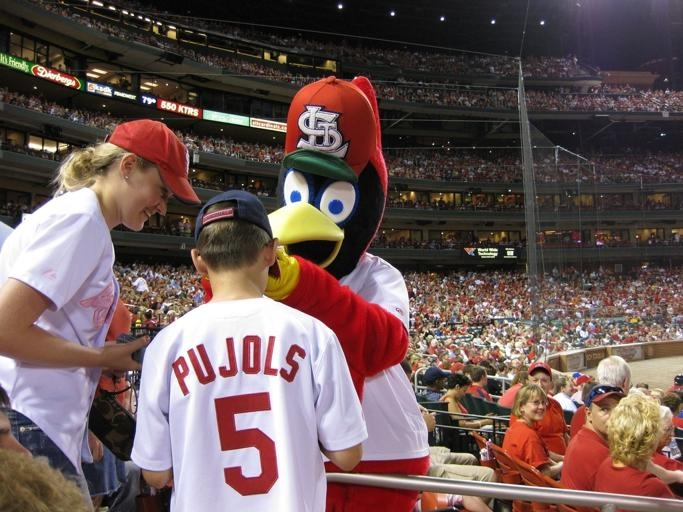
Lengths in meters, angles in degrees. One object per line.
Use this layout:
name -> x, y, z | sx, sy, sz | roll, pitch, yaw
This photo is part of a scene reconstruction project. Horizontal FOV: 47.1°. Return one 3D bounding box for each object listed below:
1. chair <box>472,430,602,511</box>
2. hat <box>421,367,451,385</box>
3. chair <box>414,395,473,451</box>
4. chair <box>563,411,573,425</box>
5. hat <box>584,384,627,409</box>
chair -> 2.274, 2.623, 9.178 | 0.778, 1.108, 0.796 | -2, 0, -12
hat -> 1.416, 1.866, 11.855 | 0.314, 0.272, 0.430 | 0, -4, 13
chair -> 1.463, 2.363, 11.023 | 0.721, 1.043, 0.742 | -1, -5, 12
chair -> 3.287, 2.396, 11.314 | 0.114, 0.212, 0.399 | 0, -4, 9
hat -> 2.988, 1.622, 8.848 | 0.405, 0.254, 0.240 | -1, -4, 19
